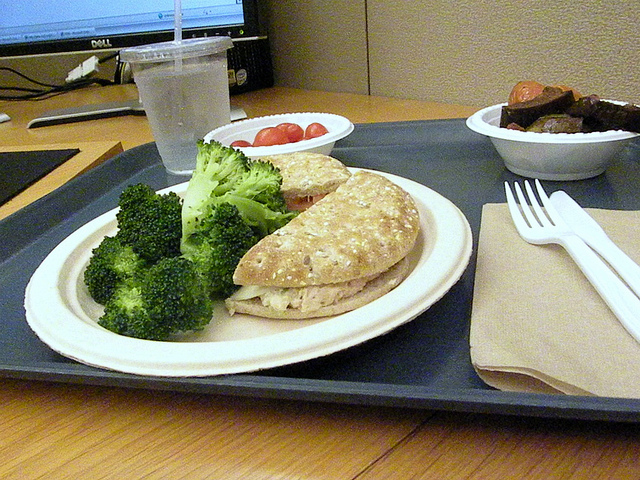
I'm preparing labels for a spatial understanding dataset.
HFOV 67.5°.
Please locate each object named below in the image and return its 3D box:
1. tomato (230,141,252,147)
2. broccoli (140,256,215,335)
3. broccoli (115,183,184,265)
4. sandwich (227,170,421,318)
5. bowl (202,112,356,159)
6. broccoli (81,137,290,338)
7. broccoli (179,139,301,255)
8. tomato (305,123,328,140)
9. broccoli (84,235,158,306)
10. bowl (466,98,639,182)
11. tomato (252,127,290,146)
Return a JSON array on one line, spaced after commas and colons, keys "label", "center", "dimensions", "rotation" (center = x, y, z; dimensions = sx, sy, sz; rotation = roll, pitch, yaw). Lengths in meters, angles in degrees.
[{"label": "tomato", "center": [-0.197, -0.240, 1.197], "dimensions": [0.027, 0.013, 0.026], "rotation": [7, 9, 32]}, {"label": "broccoli", "center": [-0.196, 0.079, 0.653], "dimensions": [0.098, 0.052, 0.108], "rotation": [-3, 50, -6]}, {"label": "broccoli", "center": [-0.295, -0.021, 0.838], "dimensions": [0.110, 0.068, 0.133], "rotation": [-15, 44, -21]}, {"label": "sandwich", "center": [0.013, 0.019, 0.708], "dimensions": [0.350, 0.077, 0.199], "rotation": [-32, 46, -33]}, {"label": "bowl", "center": [-0.089, -0.285, 1.328], "dimensions": [0.317, 0.072, 0.320], "rotation": [-3, -1, 0]}, {"label": "broccoli", "center": [-0.212, 0.007, 0.781], "dimensions": [0.266, 0.125, 0.327], "rotation": [7, 39, 22]}, {"label": "broccoli", "center": [-0.155, -0.045, 0.874], "dimensions": [0.211, 0.105, 0.196], "rotation": [-26, 59, -27]}, {"label": "tomato", "center": [-0.008, -0.285, 1.238], "dimensions": [0.053, 0.027, 0.048], "rotation": [-19, 40, -4]}, {"label": "broccoli", "center": [-0.313, 0.049, 0.792], "dimensions": [0.130, 0.065, 0.139], "rotation": [-18, -2, 1]}, {"label": "bowl", "center": [0.480, -0.273, 1.044], "dimensions": [0.288, 0.079, 0.233], "rotation": [-5, 29, 2]}, {"label": "tomato", "center": [-0.123, -0.257, 1.198], "dimensions": [0.060, 0.035, 0.064], "rotation": [2, 34, 3]}]
